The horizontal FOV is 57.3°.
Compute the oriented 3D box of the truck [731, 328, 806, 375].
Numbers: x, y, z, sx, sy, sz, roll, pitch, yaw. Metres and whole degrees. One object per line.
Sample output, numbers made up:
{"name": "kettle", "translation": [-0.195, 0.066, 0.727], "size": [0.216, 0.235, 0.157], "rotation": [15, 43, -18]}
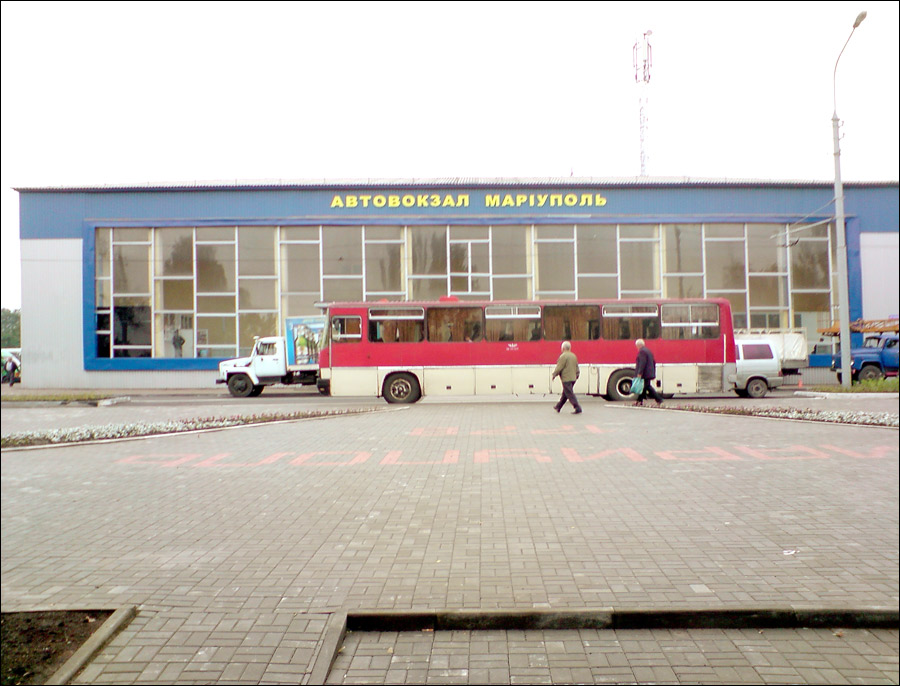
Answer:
{"name": "truck", "translation": [11.453, 0.081, 29.347], "size": [3.100, 1.962, 2.082], "rotation": [-2, 0, 3]}

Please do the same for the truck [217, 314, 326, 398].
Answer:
{"name": "truck", "translation": [-6.722, 0.517, 28.647], "size": [5.034, 2.931, 2.046], "rotation": [1, -2, 1]}

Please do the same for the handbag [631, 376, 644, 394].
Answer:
{"name": "handbag", "translation": [4.775, 1.055, 21.037], "size": [0.288, 0.477, 0.300], "rotation": [0, 3, 10]}

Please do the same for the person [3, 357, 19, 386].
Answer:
{"name": "person", "translation": [-17.338, 1.065, 32.625], "size": [0.531, 1.157, 1.057], "rotation": [-2, 3, -22]}

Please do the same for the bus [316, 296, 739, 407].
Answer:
{"name": "bus", "translation": [2.178, 0.194, 23.731], "size": [11.139, 2.888, 0.987], "rotation": [-1, 3, 2]}

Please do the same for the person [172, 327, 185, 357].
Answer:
{"name": "person", "translation": [-10.849, -0.064, 32.961], "size": [0.485, 1.070, 0.133], "rotation": [0, 3, 9]}

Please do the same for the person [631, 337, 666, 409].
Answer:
{"name": "person", "translation": [5.058, 0.740, 21.177], "size": [0.625, 1.675, 1.179], "rotation": [0, 3, 13]}

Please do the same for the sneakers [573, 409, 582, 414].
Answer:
{"name": "sneakers", "translation": [3.011, 1.542, 19.562], "size": [0.172, 0.129, 0.526], "rotation": [-1, 4, 6]}

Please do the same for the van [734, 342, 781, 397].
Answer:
{"name": "van", "translation": [9.046, 0.722, 24.582], "size": [1.735, 1.082, 1.114], "rotation": [2, 2, 17]}
